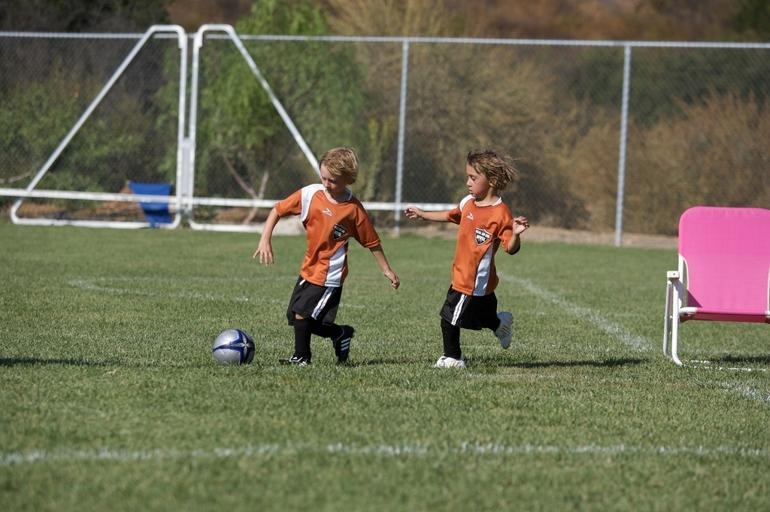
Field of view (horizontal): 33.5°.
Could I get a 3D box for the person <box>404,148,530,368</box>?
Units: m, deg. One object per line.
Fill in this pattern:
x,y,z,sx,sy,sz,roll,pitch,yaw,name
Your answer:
0.902,0.035,11.824,0.723,2.027,0.383,4,4,5,person

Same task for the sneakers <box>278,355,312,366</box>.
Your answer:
-0.826,0.982,11.847,0.291,0.136,0.109,6,-6,0,sneakers

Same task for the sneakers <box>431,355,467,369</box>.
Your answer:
0.613,0.986,11.876,0.308,0.138,0.116,0,-1,3,sneakers

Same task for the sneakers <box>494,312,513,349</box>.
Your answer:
1.118,0.689,12.078,0.173,0.389,0.137,-16,20,-33,sneakers

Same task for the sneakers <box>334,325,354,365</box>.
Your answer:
-0.366,0.818,11.939,0.169,0.413,0.136,1,16,-5,sneakers

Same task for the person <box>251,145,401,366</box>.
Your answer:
-0.557,-0.005,11.880,1.128,2.017,0.370,2,4,-10,person

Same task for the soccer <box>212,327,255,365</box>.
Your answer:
-1.395,0.845,11.802,0.319,0.329,0.339,-6,-26,-4,soccer
